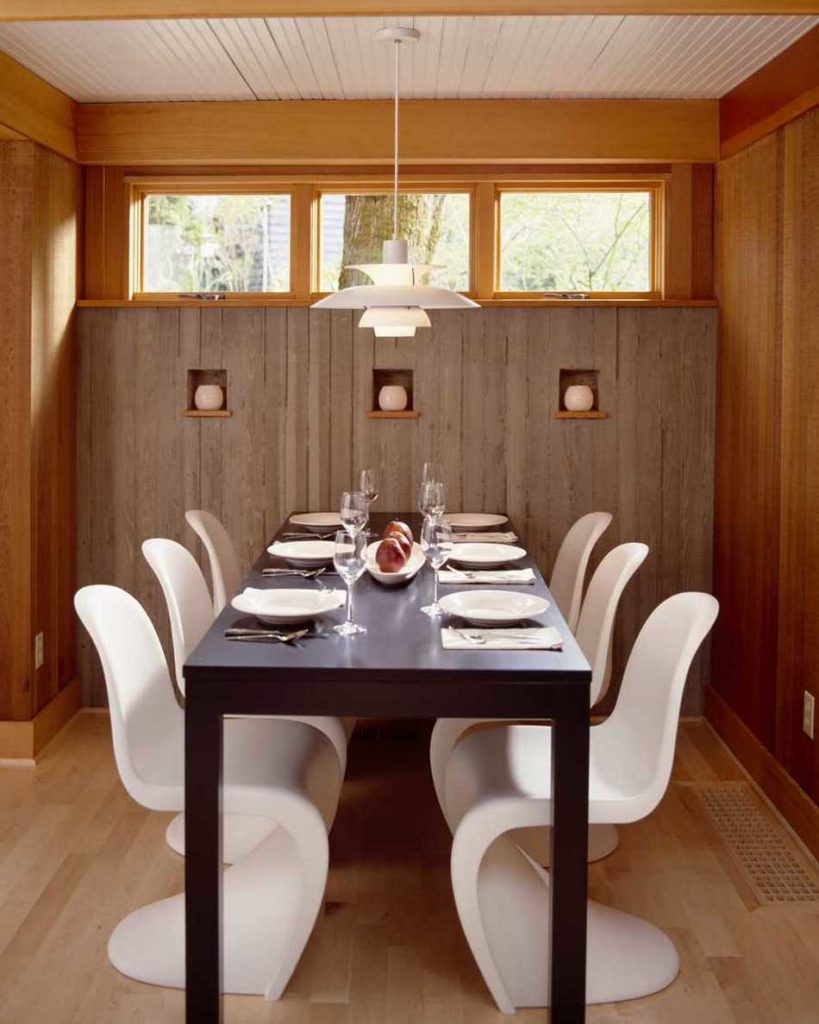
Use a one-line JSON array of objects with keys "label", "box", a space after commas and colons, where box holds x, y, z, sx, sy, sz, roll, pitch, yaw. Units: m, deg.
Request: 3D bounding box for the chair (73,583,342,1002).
[{"label": "chair", "box": [-0.417, 0.569, 1.817, 0.496, 0.833, 0.479, 1, 10, 1]}]

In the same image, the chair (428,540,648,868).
[{"label": "chair", "box": [0.415, 0.529, 2.368, 0.492, 0.904, 0.415, 2, 4, 21]}]

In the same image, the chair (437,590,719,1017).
[{"label": "chair", "box": [0.376, 0.552, 1.999, 0.625, 1.150, 0.633, 2, 1, 0]}]
